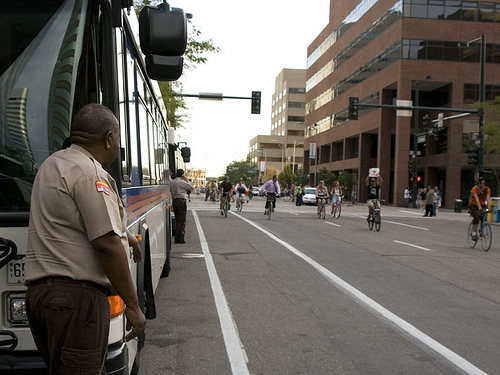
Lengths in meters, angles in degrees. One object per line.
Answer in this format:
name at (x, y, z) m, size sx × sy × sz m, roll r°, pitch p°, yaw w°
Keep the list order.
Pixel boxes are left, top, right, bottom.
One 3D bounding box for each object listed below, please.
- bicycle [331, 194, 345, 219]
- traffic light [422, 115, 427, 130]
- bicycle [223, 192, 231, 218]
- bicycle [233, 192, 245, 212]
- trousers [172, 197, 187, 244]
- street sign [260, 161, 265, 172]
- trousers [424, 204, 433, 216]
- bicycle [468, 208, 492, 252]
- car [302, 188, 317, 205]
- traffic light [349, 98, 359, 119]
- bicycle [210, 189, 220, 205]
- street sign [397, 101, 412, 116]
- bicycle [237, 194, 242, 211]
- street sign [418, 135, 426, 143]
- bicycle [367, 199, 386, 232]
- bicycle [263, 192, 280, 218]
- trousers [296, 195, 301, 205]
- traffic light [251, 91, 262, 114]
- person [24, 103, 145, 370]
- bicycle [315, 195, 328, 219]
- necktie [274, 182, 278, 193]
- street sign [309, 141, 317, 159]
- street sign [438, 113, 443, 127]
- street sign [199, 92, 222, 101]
bicycle at (5.510, 1.217, 26.948) m, size 0.656 × 1.116 × 1.638 m, roll 1°, pitch -1°, yaw -4°
traffic light at (12.766, -4.703, 31.426) m, size 0.234 × 1.118 × 0.778 m, roll 2°, pitch 0°, yaw 24°
bicycle at (-1.308, 0.963, 24.107) m, size 0.367 × 1.243 × 1.156 m, roll 2°, pitch 0°, yaw -3°
bicycle at (-0.773, 1.041, 30.924) m, size 0.874 × 1.392 × 2.052 m, roll 0°, pitch 5°, yaw -1°
trousers at (-2.187, 1.083, 13.491) m, size 0.403 × 1.519 × 0.582 m, roll 4°, pitch -33°, yaw -20°
street sign at (3.713, -5.956, 125.954) m, size 0.898 × 2.743 × 2.354 m, roll 2°, pitch 0°, yaw 6°
trousers at (13.449, 1.685, 32.425) m, size 0.543 × 0.955 × 1.673 m, roll 2°, pitch 0°, yaw 24°
bicycle at (7.501, 1.323, 13.895) m, size 0.453 × 1.500 × 1.098 m, roll 2°, pitch 0°, yaw 0°
car at (6.167, 0.929, 45.381) m, size 1.133 × 1.144 × 2.982 m, roll -1°, pitch -3°, yaw -3°
traffic light at (6.521, -4.921, 27.021) m, size 0.481 × 1.362 × 1.637 m, roll 2°, pitch 0°, yaw 11°
bicycle at (-3.455, 0.877, 42.639) m, size 0.878 × 1.347 × 1.889 m, roll 1°, pitch 7°, yaw -5°
street sign at (10.144, -5.202, 28.378) m, size 0.846 × 1.084 × 2.031 m, roll 2°, pitch 0°, yaw 19°
bicycle at (-0.685, 1.036, 29.484) m, size 0.254 × 1.035 × 0.541 m, roll 2°, pitch 0°, yaw 2°
street sign at (22.585, -6.366, 56.743) m, size 0.785 × 0.963 × 2.813 m, roll 2°, pitch 0°, yaw 16°
bicycle at (5.792, 1.319, 19.441) m, size 0.525 × 0.915 × 1.301 m, roll 2°, pitch -2°, yaw -4°
bicycle at (1.238, 0.974, 23.829) m, size 0.631 × 1.323 × 1.078 m, roll 2°, pitch 0°, yaw -1°
trousers at (4.869, 1.242, 42.731) m, size 0.380 × 0.893 × 1.833 m, roll 2°, pitch 0°, yaw 7°
traffic light at (0.346, -4.800, 24.543) m, size 0.506 × 1.189 × 0.368 m, roll 2°, pitch 0°, yaw -6°
person at (-0.953, 0.263, 2.532) m, size 0.645 × 1.189 × 0.379 m, roll 2°, pitch 0°, yaw 10°
bicycle at (4.482, 1.261, 26.300) m, size 0.579 × 0.976 × 1.431 m, roll 1°, pitch -2°, yaw -1°
necktie at (1.419, -0.021, 23.761) m, size 0.077 × 0.551 × 0.068 m, roll -12°, pitch 4°, yaw -12°
street sign at (10.943, -6.559, 74.810) m, size 1.091 × 2.842 × 1.267 m, roll 2°, pitch 0°, yaw 12°
street sign at (13.347, -4.720, 30.247) m, size 0.231 × 0.980 × 1.218 m, roll 2°, pitch 0°, yaw 18°
street sign at (-2.226, -5.090, 24.151) m, size 1.388 × 0.509 × 1.651 m, roll 0°, pitch 2°, yaw -6°
